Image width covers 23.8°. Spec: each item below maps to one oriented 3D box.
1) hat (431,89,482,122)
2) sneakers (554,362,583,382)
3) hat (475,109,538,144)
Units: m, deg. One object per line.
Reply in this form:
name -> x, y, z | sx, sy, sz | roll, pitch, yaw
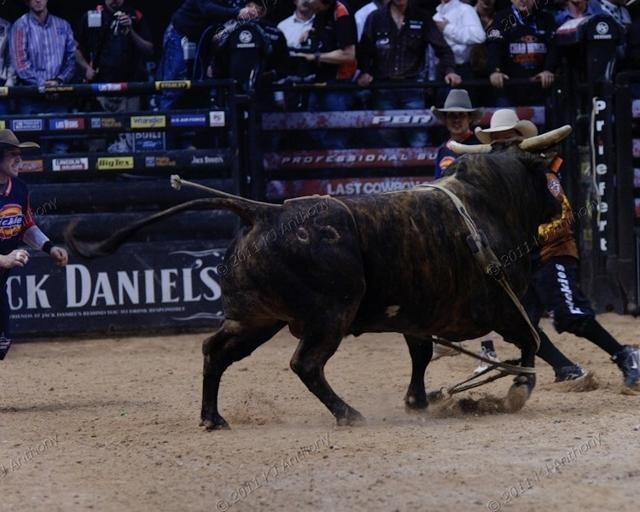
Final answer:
hat -> 1.436, -1.563, 15.823 | 0.503, 0.223, 0.580 | 0, -16, 10
sneakers -> 2.332, 1.101, 14.036 | 0.335, 0.130, 0.110 | -6, -6, 6
hat -> 1.825, -1.279, 14.584 | 0.392, 0.179, 0.468 | -10, -18, 23
